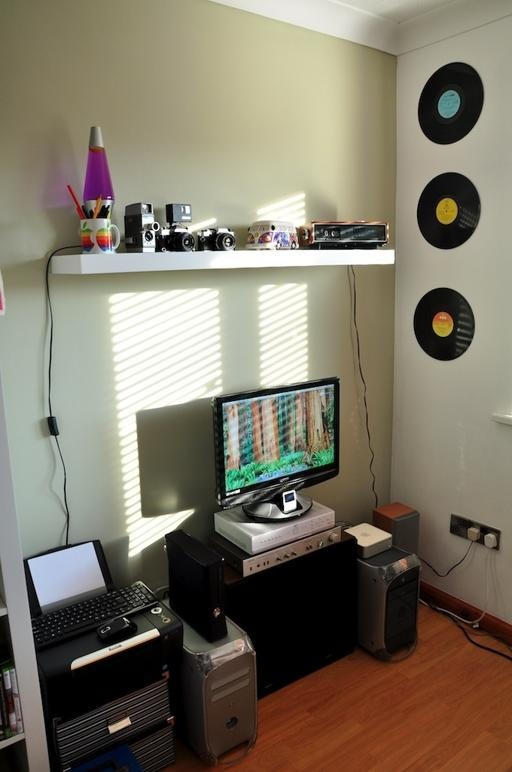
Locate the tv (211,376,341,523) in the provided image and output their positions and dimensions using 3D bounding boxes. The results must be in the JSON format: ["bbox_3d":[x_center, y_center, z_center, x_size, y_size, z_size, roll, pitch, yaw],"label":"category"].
[{"bbox_3d":[0.055,0.221,2.068,0.429,0.415,0.179,-11,14,-42],"label":"tv"}]

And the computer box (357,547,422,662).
[{"bbox_3d":[0.499,0.843,2.209,0.229,0.382,0.153,0,8,11],"label":"computer box"}]

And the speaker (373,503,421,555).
[{"bbox_3d":[0.632,0.655,2.590,0.255,0.232,0.156,-8,10,-35],"label":"speaker"}]

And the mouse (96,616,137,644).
[{"bbox_3d":[-0.378,0.648,1.570,0.081,0.032,0.044,-8,18,-44],"label":"mouse"}]

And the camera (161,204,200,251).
[{"bbox_3d":[-0.241,-0.481,1.781,0.136,0.153,0.070,-9,15,-40],"label":"camera"}]

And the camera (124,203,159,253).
[{"bbox_3d":[-0.335,-0.459,1.717,0.089,0.144,0.186,-5,9,-22],"label":"camera"}]
